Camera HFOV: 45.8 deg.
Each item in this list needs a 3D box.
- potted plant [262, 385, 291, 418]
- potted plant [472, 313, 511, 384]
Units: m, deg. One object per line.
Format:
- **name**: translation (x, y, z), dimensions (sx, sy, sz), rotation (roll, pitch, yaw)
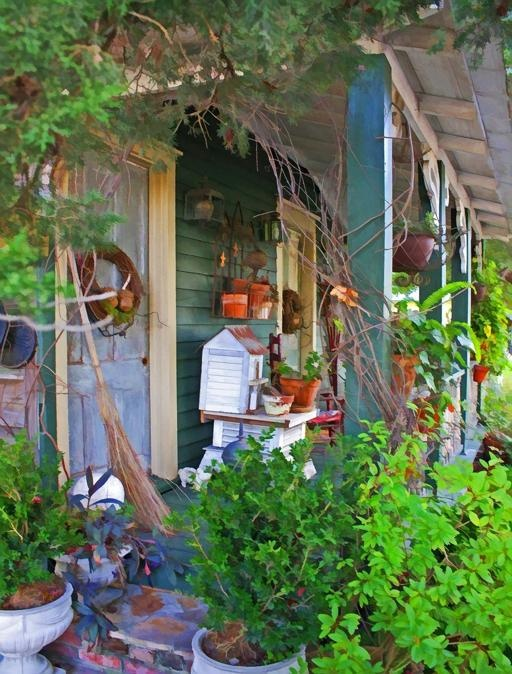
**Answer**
- **potted plant**: translation (0.093, 0.349, 3.284), dimensions (0.163, 0.146, 0.131), rotation (-2, 7, -9)
- **potted plant**: translation (2.178, 0.104, 5.659), dimensions (0.285, 0.620, 0.846), rotation (0, 2, 28)
